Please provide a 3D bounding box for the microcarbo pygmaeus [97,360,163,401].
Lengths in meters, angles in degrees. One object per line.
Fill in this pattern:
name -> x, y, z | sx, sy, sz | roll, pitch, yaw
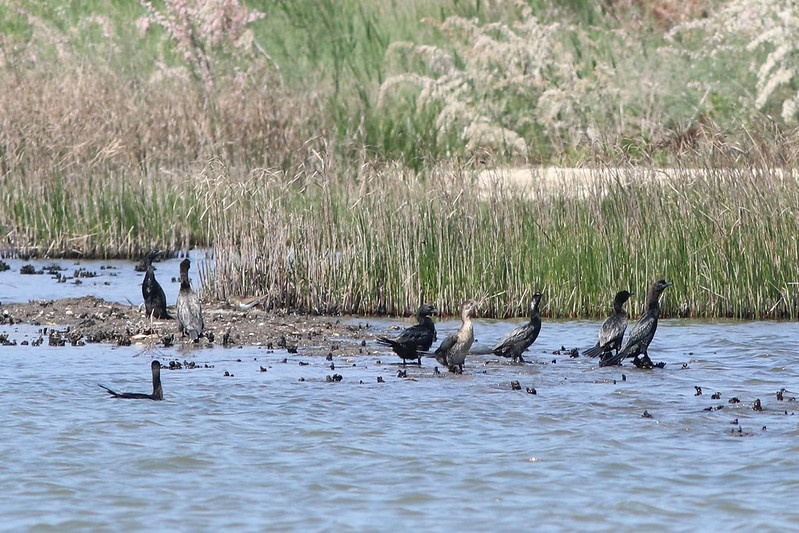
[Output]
microcarbo pygmaeus -> -4.320, 1.891, 22.199 | 1.100, 0.691, 0.424 | 1, -5, 14

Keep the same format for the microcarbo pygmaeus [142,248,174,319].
microcarbo pygmaeus -> -4.964, 0.431, 28.307 | 0.393, 1.608, 0.875 | -8, 45, -1

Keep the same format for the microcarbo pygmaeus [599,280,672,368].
microcarbo pygmaeus -> 4.171, 1.058, 24.127 | 0.757, 1.345, 1.165 | 3, 7, 23
